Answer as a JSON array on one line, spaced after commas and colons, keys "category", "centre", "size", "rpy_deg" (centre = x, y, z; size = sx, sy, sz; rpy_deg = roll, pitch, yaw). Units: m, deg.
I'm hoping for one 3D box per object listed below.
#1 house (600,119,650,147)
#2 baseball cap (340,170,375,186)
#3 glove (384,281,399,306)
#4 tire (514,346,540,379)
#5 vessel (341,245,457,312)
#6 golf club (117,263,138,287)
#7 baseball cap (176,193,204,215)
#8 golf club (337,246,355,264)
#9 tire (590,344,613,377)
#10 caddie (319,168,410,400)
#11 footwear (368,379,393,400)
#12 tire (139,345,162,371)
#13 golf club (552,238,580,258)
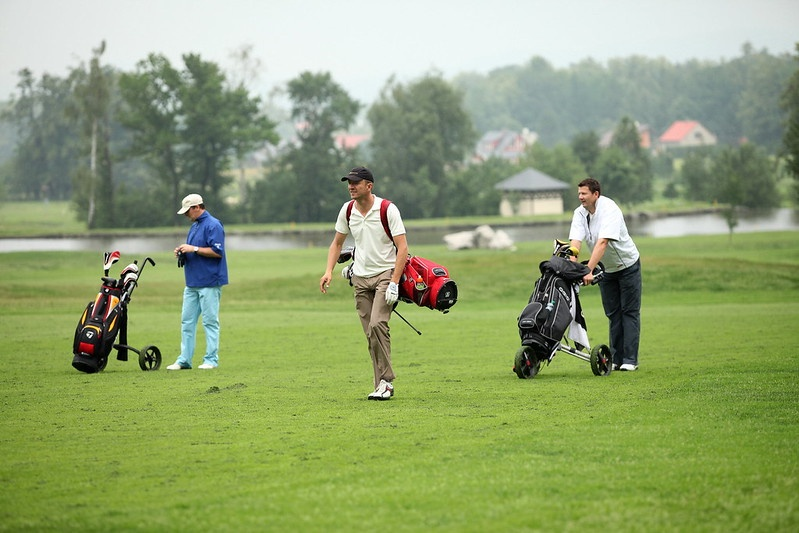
[{"category": "house", "centre": [7.057, -4.150, 36.114], "size": [1.071, 0.820, 4.973], "rpy_deg": [-1, 8, 4]}, {"category": "baseball cap", "centre": [-0.623, -1.435, 18.701], "size": [0.381, 0.188, 0.259], "rpy_deg": [1, 3, -17]}, {"category": "glove", "centre": [-0.107, 0.430, 18.671], "size": [0.135, 0.322, 0.244], "rpy_deg": [3, 1, -5]}, {"category": "tire", "centre": [2.191, 1.640, 19.686], "size": [0.500, 0.506, 0.252], "rpy_deg": [-13, 6, -43]}, {"category": "vessel", "centre": [0.108, 0.191, 19.546], "size": [0.944, 0.885, 1.915], "rpy_deg": [-10, 18, -43]}, {"category": "golf club", "centre": [-4.850, 0.145, 20.830], "size": [0.269, 0.160, 0.372], "rpy_deg": [-18, 32, 27]}, {"category": "baseball cap", "centre": [-3.756, -1.128, 21.003], "size": [0.376, 0.353, 0.617], "rpy_deg": [-3, 9, -8]}, {"category": "golf club", "centre": [-0.856, -0.193, 19.195], "size": [0.291, 0.250, 0.221], "rpy_deg": [8, 2, 13]}, {"category": "tire", "centre": [3.482, 1.636, 19.887], "size": [0.176, 0.506, 0.533], "rpy_deg": [0, 3, 38]}, {"category": "caddie", "centre": [-0.489, 0.247, 18.947], "size": [0.842, 3.739, 1.134], "rpy_deg": [-9, 12, -39]}, {"category": "footwear", "centre": [-0.268, 2.022, 18.772], "size": [0.252, 0.169, 0.388], "rpy_deg": [-2, -3, 17]}, {"category": "tire", "centre": [-4.503, 1.642, 20.933], "size": [0.355, 0.424, 0.415], "rpy_deg": [-2, 9, -4]}, {"category": "golf club", "centre": [2.879, -0.337, 19.821], "size": [0.340, 0.138, 0.339], "rpy_deg": [6, -15, 29]}]
